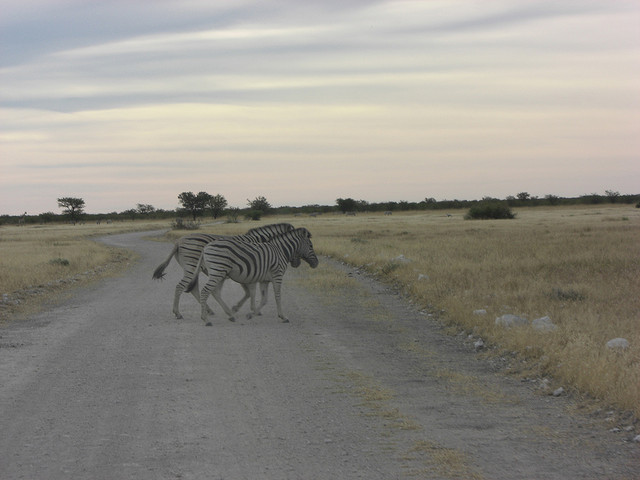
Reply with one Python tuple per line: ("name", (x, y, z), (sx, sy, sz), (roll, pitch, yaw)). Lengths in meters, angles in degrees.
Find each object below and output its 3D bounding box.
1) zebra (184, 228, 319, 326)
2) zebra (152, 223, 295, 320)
("zebra", (-1.627, 0.859, 16.967), (3.543, 2.401, 0.933), (-1, 3, -30))
("zebra", (-1.960, 0.828, 17.897), (4.296, 2.779, 1.068), (2, -9, -31))
